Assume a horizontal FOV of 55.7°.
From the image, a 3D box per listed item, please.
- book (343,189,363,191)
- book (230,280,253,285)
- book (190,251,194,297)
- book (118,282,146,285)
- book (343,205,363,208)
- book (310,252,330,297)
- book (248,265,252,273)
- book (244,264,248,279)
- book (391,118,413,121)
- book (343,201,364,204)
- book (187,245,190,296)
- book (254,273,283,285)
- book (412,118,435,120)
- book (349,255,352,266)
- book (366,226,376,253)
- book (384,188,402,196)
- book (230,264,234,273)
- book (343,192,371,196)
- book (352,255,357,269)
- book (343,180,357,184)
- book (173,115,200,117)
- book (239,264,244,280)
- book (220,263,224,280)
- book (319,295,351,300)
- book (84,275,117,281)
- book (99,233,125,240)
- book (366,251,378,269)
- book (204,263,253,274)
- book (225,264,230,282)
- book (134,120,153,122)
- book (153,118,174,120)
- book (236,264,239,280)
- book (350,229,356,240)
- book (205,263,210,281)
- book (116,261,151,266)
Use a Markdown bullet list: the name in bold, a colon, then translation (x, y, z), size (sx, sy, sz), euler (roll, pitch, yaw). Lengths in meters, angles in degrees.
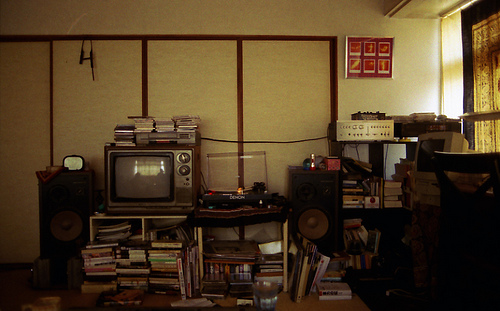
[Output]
- **book**: translation (1.291, 0.434, 5.945), size (0.235, 0.021, 0.040), euler (0, 4, 11)
- **book**: translation (-0.102, 1.522, 5.702), size (0.271, 0.054, 0.022), euler (-1, 4, 3)
- **book**: translation (-0.694, 1.409, 5.650), size (0.039, 0.520, 0.060), euler (-2, 4, -7)
- **book**: translation (-1.416, 1.527, 5.674), size (0.336, 0.034, 0.005), euler (-1, 4, 1)
- **book**: translation (1.290, 0.641, 5.937), size (0.248, 0.039, 0.034), euler (-1, 4, 1)
- **book**: translation (0.825, 1.414, 5.629), size (0.098, 0.420, 0.422), euler (9, 0, 18)
- **book**: translation (-0.003, 1.364, 5.719), size (0.061, 0.109, 0.059), euler (0, 0, -3)
- **book**: translation (-0.052, 1.396, 5.710), size (0.045, 0.166, 0.027), euler (-1, 4, -1)
- **book**: translation (1.933, -0.447, 5.995), size (0.243, 0.031, 0.054), euler (-2, 4, -7)
- **book**: translation (1.297, 0.591, 5.932), size (0.256, 0.035, 0.034), euler (-1, 4, 6)
- **book**: translation (-0.737, 1.382, 5.658), size (0.029, 0.557, 0.095), euler (-2, 4, -8)
- **book**: translation (0.201, 1.408, 5.418), size (0.343, 0.078, 0.337), euler (0, -2, 2)
- **book**: translation (2.177, -0.450, 5.943), size (0.240, 0.022, 0.030), euler (0, 4, 9)
- **book**: translation (1.241, 1.290, 5.857), size (0.027, 0.131, 0.086), euler (0, 4, 19)
- **book**: translation (1.525, 1.081, 5.973), size (0.085, 0.261, 0.135), euler (-5, 6, -45)
- **book**: translation (1.796, 0.457, 5.949), size (0.219, 0.092, 0.016), euler (-1, 4, -3)
- **book**: translation (-0.217, 1.361, 5.727), size (0.042, 0.107, 0.015), euler (-1, 4, 7)
- **book**: translation (1.345, 0.484, 5.948), size (0.352, 0.051, 0.020), euler (-1, 4, -4)
- **book**: translation (1.302, 1.326, 5.901), size (0.066, 0.171, 0.024), euler (-1, 4, -2)
- **book**: translation (1.255, 0.338, 5.964), size (0.159, 0.045, 0.024), euler (-2, 4, -6)
- **book**: translation (-0.811, -0.495, 6.040), size (0.343, 0.024, 0.440), euler (-2, 5, -8)
- **book**: translation (-0.103, 1.401, 5.710), size (0.055, 0.175, 0.037), euler (-2, 4, -4)
- **book**: translation (-0.341, 1.392, 5.698), size (0.043, 0.183, 0.053), euler (-1, 4, -4)
- **book**: translation (0.999, 1.663, 5.565), size (0.369, 0.054, 0.007), euler (-1, 4, 0)
- **book**: translation (-1.800, 1.472, 5.691), size (0.157, 0.036, 0.156), euler (0, -1, 1)
- **book**: translation (-1.703, 0.988, 5.773), size (0.245, 0.045, 0.035), euler (-9, -8, -6)
- **book**: translation (1.533, 1.313, 5.918), size (0.127, 0.201, 0.068), euler (0, 4, 20)
- **book**: translation (-0.258, 1.359, 5.727), size (0.580, 0.137, 0.050), euler (-1, 4, 2)
- **book**: translation (-0.272, 1.408, 5.702), size (0.063, 0.201, 0.052), euler (-1, 4, -4)
- **book**: translation (-1.302, -0.416, 5.804), size (0.212, 0.022, 0.041), euler (-2, 4, -11)
- **book**: translation (-1.071, -0.439, 5.812), size (0.198, 0.029, 0.020), euler (2, 0, -1)
- **book**: translation (-0.152, 1.402, 5.712), size (0.033, 0.177, 0.030), euler (-1, 4, -2)
- **book**: translation (1.303, 1.008, 6.020), size (0.031, 0.130, 0.021), euler (-18, -5, 13)
- **book**: translation (-0.514, 1.394, 5.706), size (0.064, 0.190, 0.098), euler (-2, 4, -6)
- **book**: translation (-1.403, 1.295, 5.681), size (0.419, 0.050, 0.042), euler (-1, 4, 4)
